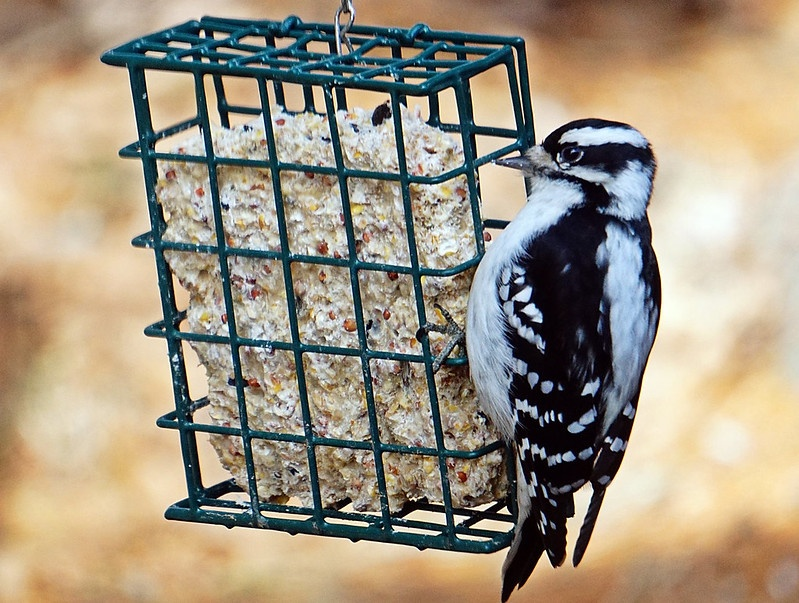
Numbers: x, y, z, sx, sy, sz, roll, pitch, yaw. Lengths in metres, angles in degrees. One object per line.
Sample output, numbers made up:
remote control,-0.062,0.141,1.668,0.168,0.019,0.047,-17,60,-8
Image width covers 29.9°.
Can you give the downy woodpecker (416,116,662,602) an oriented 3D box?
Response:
downy woodpecker,0.595,0.158,5.390,0.834,1.610,1.053,-2,13,4
